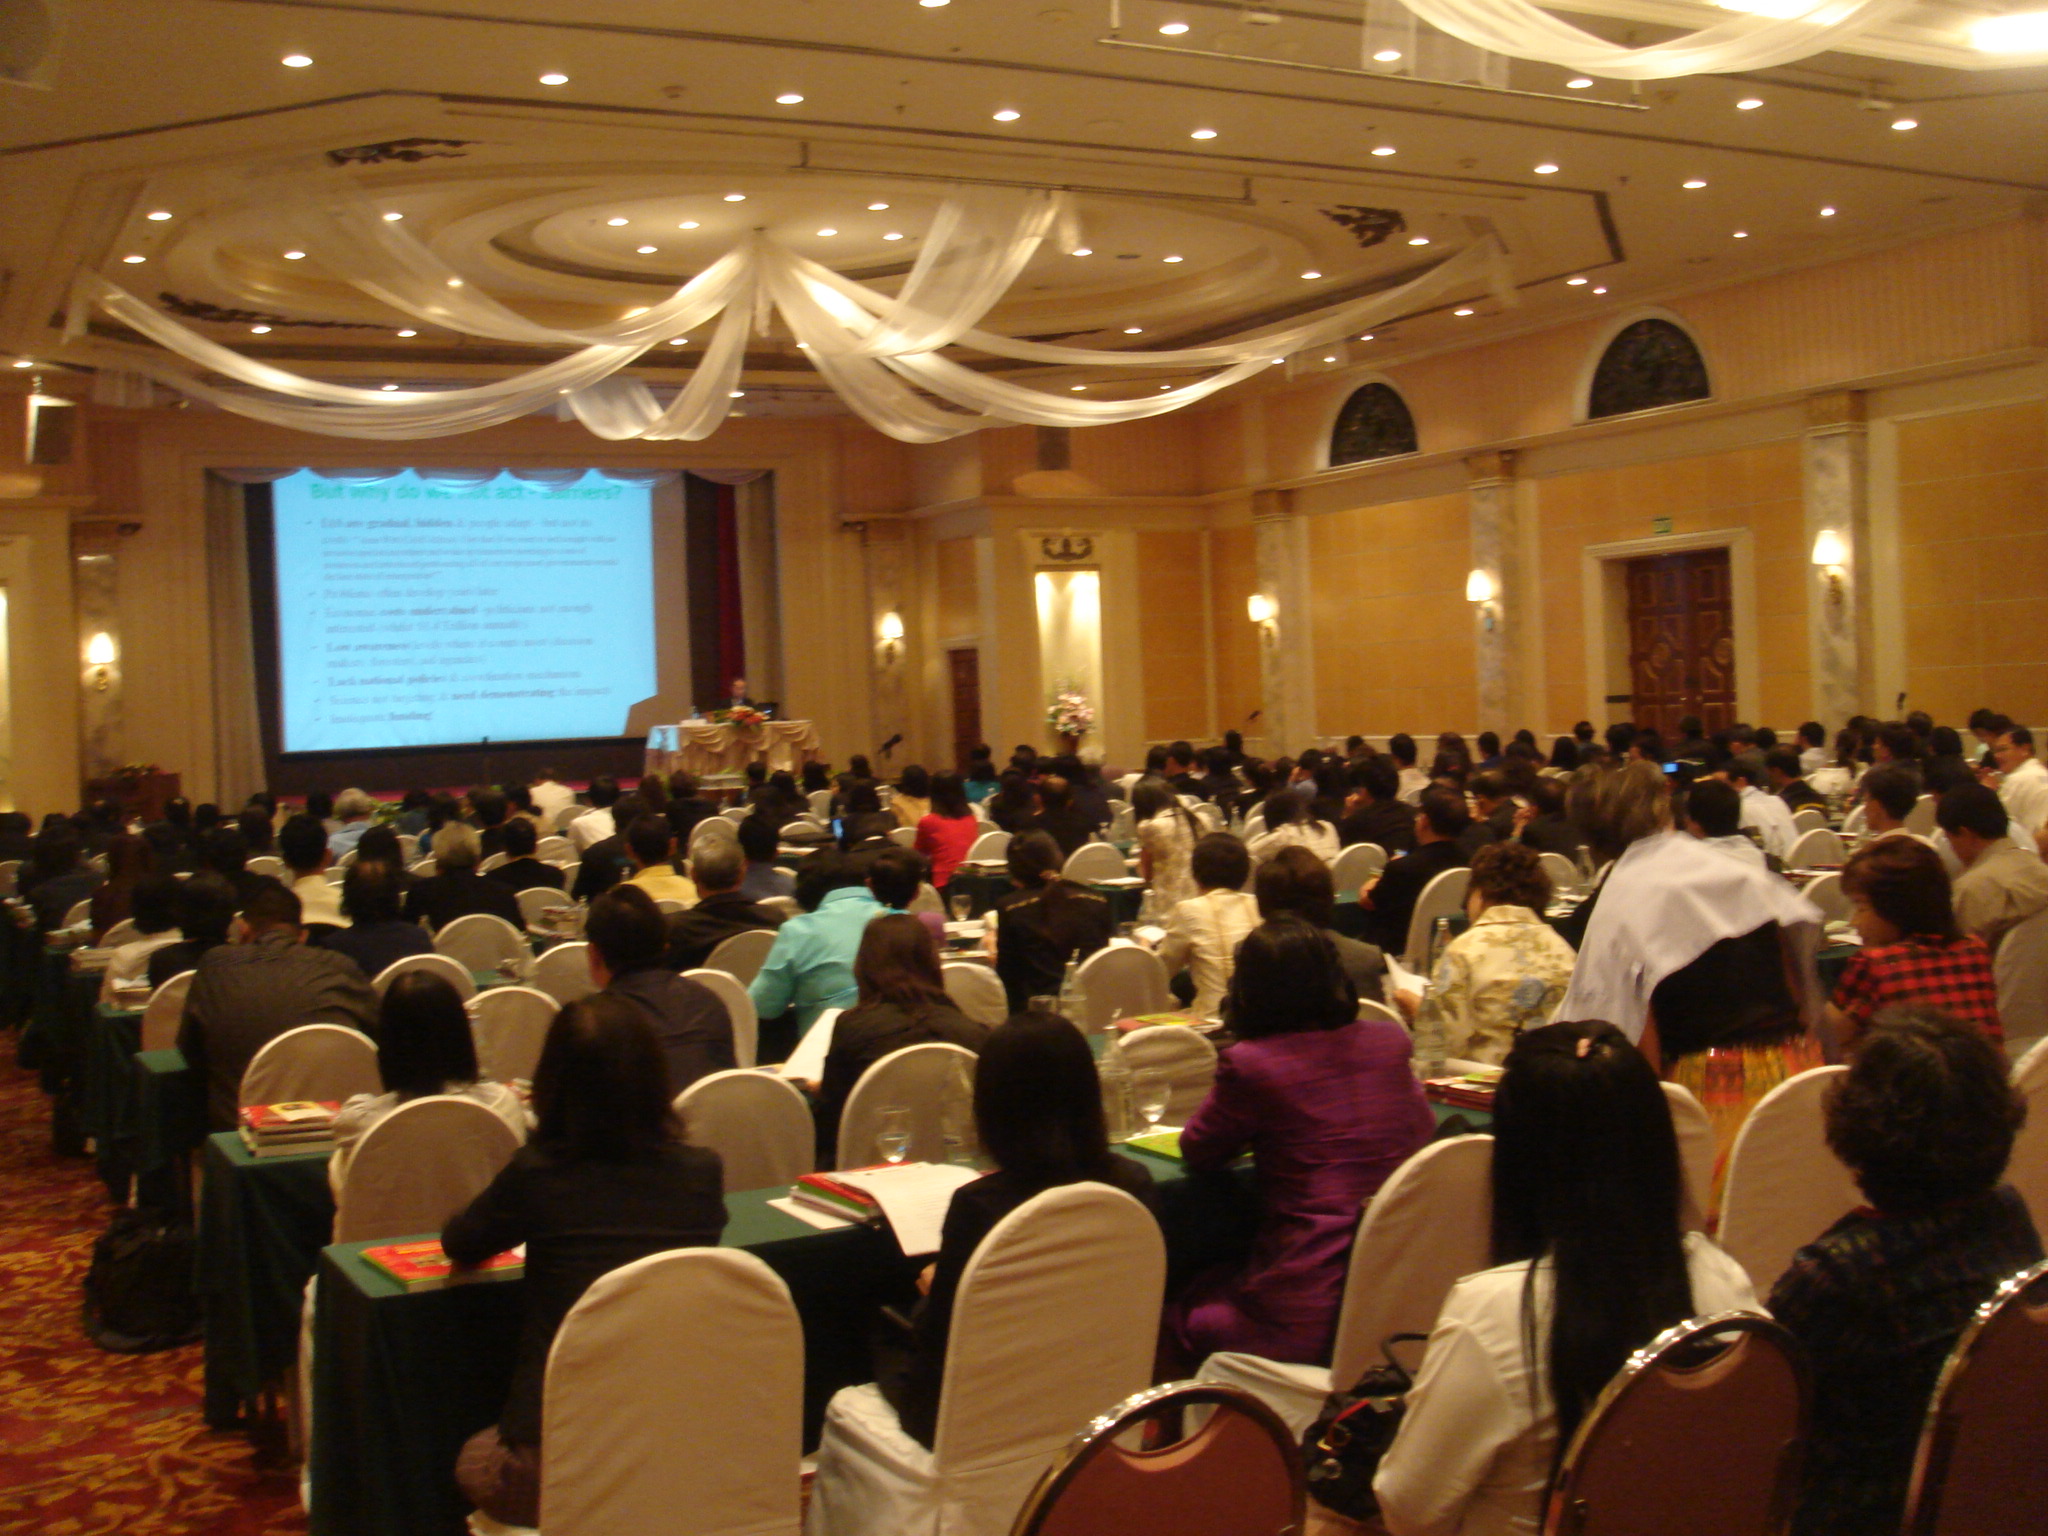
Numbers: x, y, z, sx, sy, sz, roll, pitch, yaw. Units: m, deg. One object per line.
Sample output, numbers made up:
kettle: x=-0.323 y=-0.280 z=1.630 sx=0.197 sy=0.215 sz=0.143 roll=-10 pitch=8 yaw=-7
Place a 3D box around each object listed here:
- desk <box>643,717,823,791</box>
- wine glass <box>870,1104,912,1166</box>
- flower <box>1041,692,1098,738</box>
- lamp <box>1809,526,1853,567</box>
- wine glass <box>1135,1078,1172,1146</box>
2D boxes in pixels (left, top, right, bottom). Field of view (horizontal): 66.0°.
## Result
desk: x=-3.840 y=-0.247 z=19.375 sx=1.577 sy=0.685 sz=1.507 roll=0 pitch=-2 yaw=-33
wine glass: x=-0.330 y=0.928 z=4.075 sx=0.073 sy=0.143 sz=0.257 roll=-3 pitch=0 yaw=-4
flower: x=0.369 y=-0.550 z=16.312 sx=0.708 sy=0.554 sz=0.660 roll=0 pitch=0 yaw=13
lamp: x=7.428 y=-2.033 z=14.504 sx=0.148 sy=0.381 sz=0.342 roll=-3 pitch=0 yaw=-13
wine glass: x=0.349 y=0.918 z=4.200 sx=0.138 sy=0.185 sz=0.123 roll=-1 pitch=2 yaw=5
